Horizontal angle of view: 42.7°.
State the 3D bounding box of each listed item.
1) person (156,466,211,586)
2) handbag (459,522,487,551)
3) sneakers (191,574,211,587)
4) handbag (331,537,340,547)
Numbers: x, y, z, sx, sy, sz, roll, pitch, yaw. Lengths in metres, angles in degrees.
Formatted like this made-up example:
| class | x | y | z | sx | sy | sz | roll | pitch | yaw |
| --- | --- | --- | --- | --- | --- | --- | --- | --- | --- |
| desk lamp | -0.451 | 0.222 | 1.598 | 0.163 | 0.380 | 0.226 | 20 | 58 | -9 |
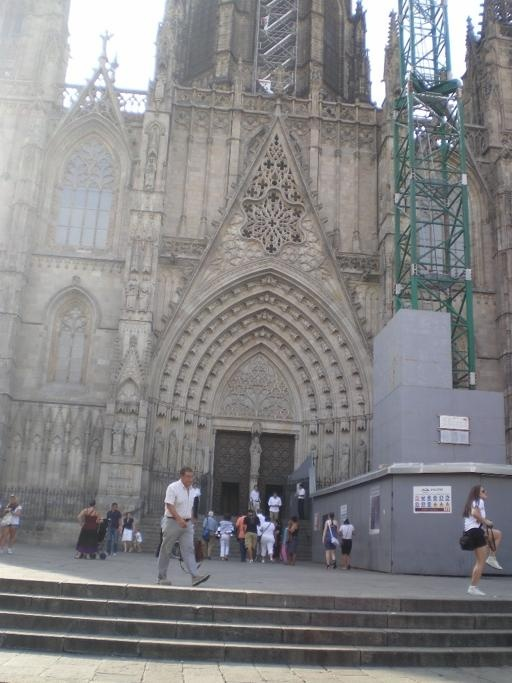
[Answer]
| class | x | y | z | sx | sy | sz | roll | pitch | yaw |
| --- | --- | --- | --- | --- | --- | --- | --- | --- | --- |
| person | -0.756 | 1.989 | 7.126 | 0.518 | 1.210 | 0.652 | 5 | -16 | -7 |
| handbag | 2.518 | 2.227 | 7.483 | 0.278 | 0.239 | 0.275 | 17 | -23 | -15 |
| sneakers | -0.576 | 2.472 | 6.786 | 0.156 | 0.117 | 0.305 | 5 | -16 | -6 |
| handbag | 1.736 | 4.372 | 14.389 | 0.266 | 0.125 | 0.341 | 4 | -13 | 0 |
